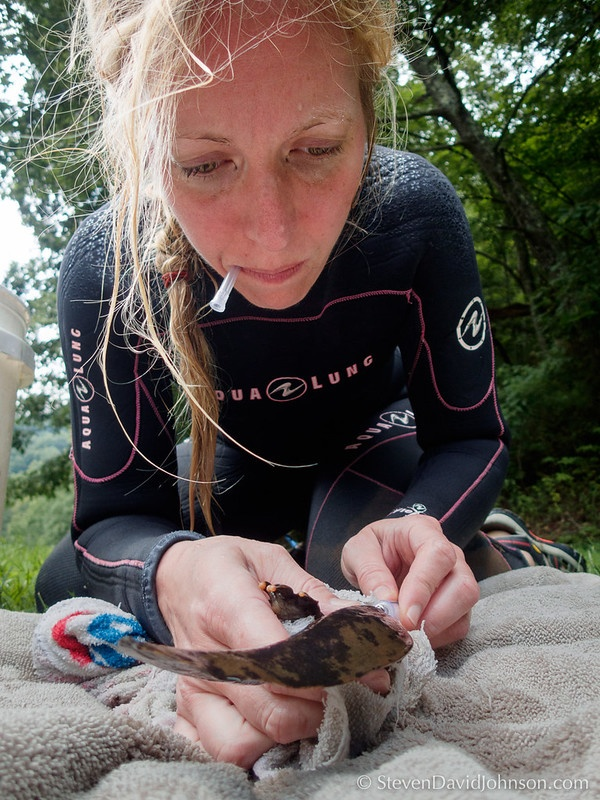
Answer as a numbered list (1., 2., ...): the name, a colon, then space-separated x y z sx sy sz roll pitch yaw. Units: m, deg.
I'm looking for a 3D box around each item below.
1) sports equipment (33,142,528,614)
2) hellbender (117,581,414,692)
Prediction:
1. sports equipment: 0.004 0.031 1.626 0.906 0.902 1.017 -9 -12 24
2. hellbender: -0.034 0.248 0.766 0.256 0.084 0.162 -18 -22 29
